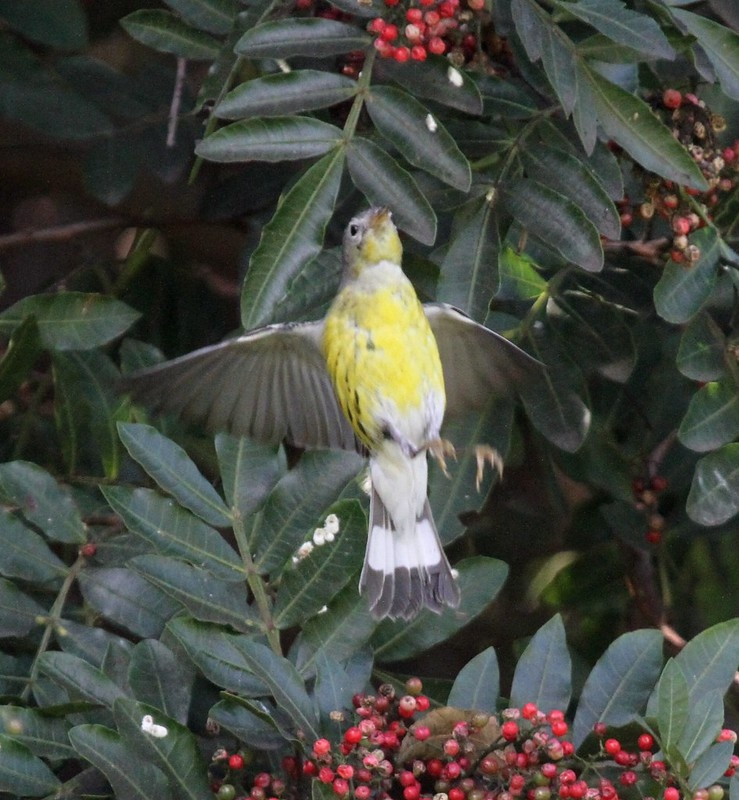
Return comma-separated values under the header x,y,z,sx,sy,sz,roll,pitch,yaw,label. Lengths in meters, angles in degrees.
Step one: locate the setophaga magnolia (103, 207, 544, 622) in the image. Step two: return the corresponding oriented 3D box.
x,y,z,sx,sy,sz,roll,pitch,yaw,label
0.006,0.024,3.220,1.112,0.772,0.350,-5,-18,-21,setophaga magnolia
